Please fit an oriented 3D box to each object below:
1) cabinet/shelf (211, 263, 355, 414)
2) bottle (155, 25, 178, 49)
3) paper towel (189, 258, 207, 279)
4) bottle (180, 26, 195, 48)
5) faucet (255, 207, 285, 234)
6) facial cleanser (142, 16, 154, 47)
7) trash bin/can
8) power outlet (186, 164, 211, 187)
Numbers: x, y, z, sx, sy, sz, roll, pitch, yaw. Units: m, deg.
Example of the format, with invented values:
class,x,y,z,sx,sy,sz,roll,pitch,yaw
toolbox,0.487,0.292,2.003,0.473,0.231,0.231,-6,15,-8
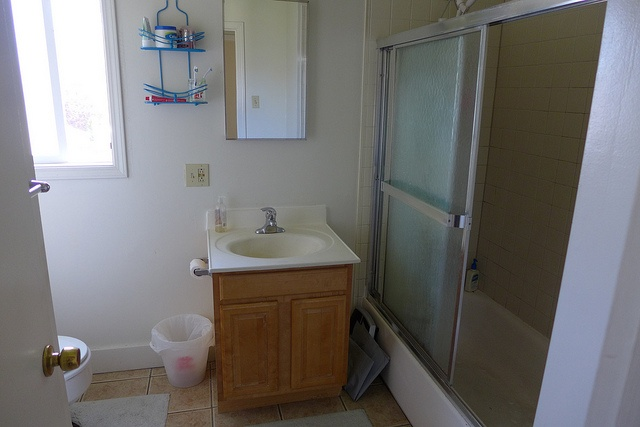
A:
class,x,y,z,sx,sy,sz,roll,pitch,yaw
cabinet/shelf,-0.229,0.712,2.616,0.781,0.976,0.483,-2,14,-11
bottle,-0.905,-1.041,2.663,0.125,0.144,0.129,-6,25,-21
paper towel,-0.744,0.335,2.753,0.110,0.067,0.165,4,15,-14
bottle,-0.792,-1.044,2.676,0.082,0.125,0.048,-4,19,-3
faucet,-0.291,0.050,2.919,0.259,0.221,0.099,0,17,-11
facial cleanser,-1.015,-1.060,2.639,0.069,0.166,0.077,-9,20,-17
trash bin/can,-0.856,0.870,2.968,0.461,0.413,0.427,1,21,-12
power outlet,-0.786,-0.249,2.886,0.143,0.147,0.015,-2,14,-13
